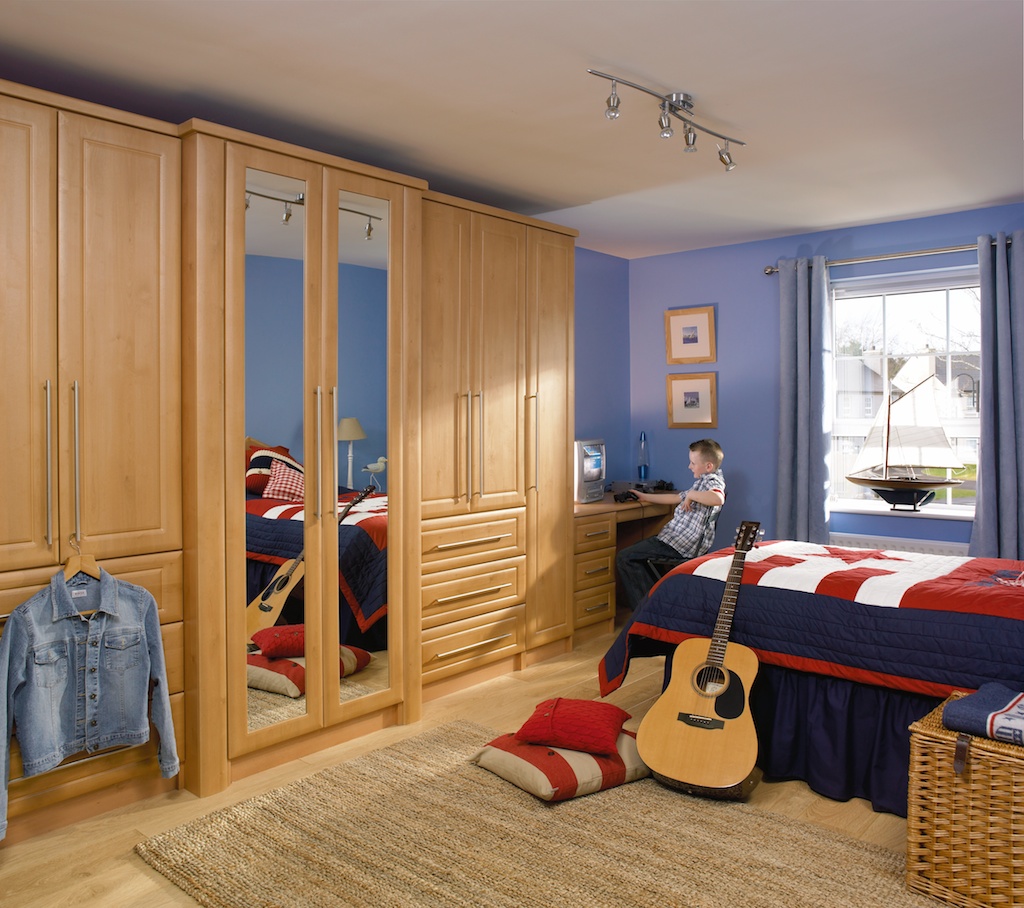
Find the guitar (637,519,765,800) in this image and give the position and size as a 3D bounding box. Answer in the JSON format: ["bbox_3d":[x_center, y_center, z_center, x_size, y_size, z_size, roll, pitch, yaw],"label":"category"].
[{"bbox_3d":[0.745,0.858,3.143,0.323,0.739,0.106,9,-19,32],"label":"guitar"}]

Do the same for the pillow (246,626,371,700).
[{"bbox_3d":[-0.790,0.798,3.194,0.328,0.091,0.332,3,3,36],"label":"pillow"}]

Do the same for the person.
[{"bbox_3d":[0.962,0.454,5.091,0.727,1.066,0.596,4,-5,29],"label":"person"}]

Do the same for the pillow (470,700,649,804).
[{"bbox_3d":[0.228,1.128,3.203,0.414,0.130,0.332,0,0,-41],"label":"pillow"}]

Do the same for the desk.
[{"bbox_3d":[0.611,0.680,4.701,0.505,0.716,0.943,0,1,40],"label":"desk"}]

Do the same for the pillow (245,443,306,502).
[{"bbox_3d":[-0.925,0.071,3.271,0.068,0.197,0.228,-3,-7,35],"label":"pillow"}]

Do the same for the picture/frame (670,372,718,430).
[{"bbox_3d":[1.291,-0.367,5.878,0.429,0.421,0.046,4,4,37],"label":"picture/frame"}]

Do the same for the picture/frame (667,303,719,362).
[{"bbox_3d":[1.280,-0.839,5.857,0.459,0.436,0.035,2,3,37],"label":"picture/frame"}]
